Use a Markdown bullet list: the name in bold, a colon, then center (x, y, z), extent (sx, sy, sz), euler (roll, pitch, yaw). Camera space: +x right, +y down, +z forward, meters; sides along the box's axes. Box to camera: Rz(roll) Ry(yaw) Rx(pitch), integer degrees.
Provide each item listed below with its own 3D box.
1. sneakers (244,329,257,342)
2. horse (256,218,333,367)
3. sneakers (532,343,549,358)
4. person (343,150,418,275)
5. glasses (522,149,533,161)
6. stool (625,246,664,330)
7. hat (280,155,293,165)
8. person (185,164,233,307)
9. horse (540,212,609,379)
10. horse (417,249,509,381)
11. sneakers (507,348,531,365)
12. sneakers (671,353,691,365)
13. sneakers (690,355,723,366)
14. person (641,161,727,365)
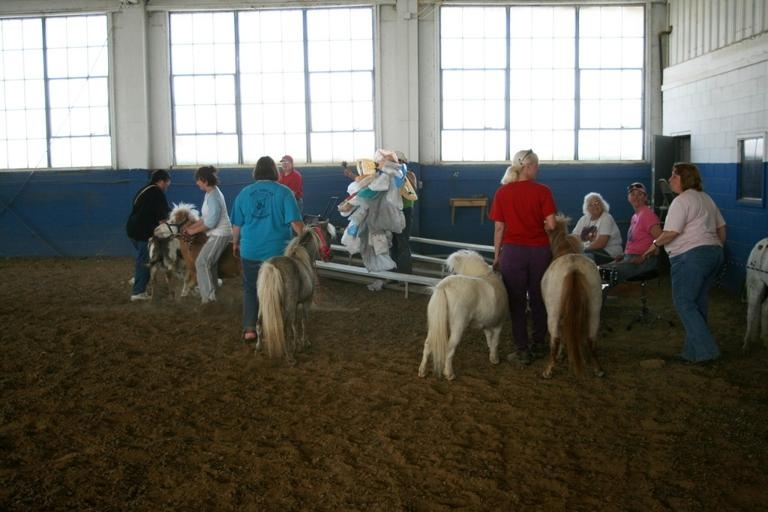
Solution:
- **sneakers**: center (-1.626, 0.950, 6.627), extent (0.128, 0.062, 0.143), euler (1, 2, -6)
- **horse**: center (-1.055, 0.372, 6.537), extent (0.510, 1.548, 1.823), euler (5, 10, 11)
- **sneakers**: center (1.729, 1.026, 6.026), extent (0.112, 0.166, 0.188), euler (-2, -11, 20)
- **person**: center (-0.116, -0.652, 8.151), extent (1.036, 1.812, 0.528), euler (0, 14, 2)
- **glasses**: center (1.545, -1.085, 5.834), extent (0.098, 0.088, 0.254), euler (3, 16, 14)
- **stool**: center (3.533, 0.364, 7.433), extent (0.454, 0.523, 0.467), euler (6, 9, 33)
- **hat**: center (-1.842, -1.865, 10.542), extent (0.299, 0.157, 0.213), euler (6, -3, -43)
- **person**: center (-2.509, -0.281, 7.866), extent (0.608, 2.019, 0.416), euler (-2, 14, -5)
- **horse**: center (2.151, 0.468, 6.235), extent (0.583, 1.426, 2.138), euler (-1, 10, 18)
- **horse**: center (1.006, 0.605, 5.919), extent (0.651, 1.174, 1.771), euler (2, 1, 26)
- **sneakers**: center (1.489, 1.079, 6.002), extent (0.209, 0.141, 0.132), euler (12, 14, 35)
- **sneakers**: center (3.216, 1.110, 5.903), extent (0.210, 0.138, 0.068), euler (1, 6, -29)
- **sneakers**: center (3.418, 1.110, 5.756), extent (0.207, 0.075, 0.166), euler (-9, -3, 16)
- **person**: center (3.337, 0.046, 5.909), extent (0.835, 2.146, 0.623), euler (4, -6, -20)
